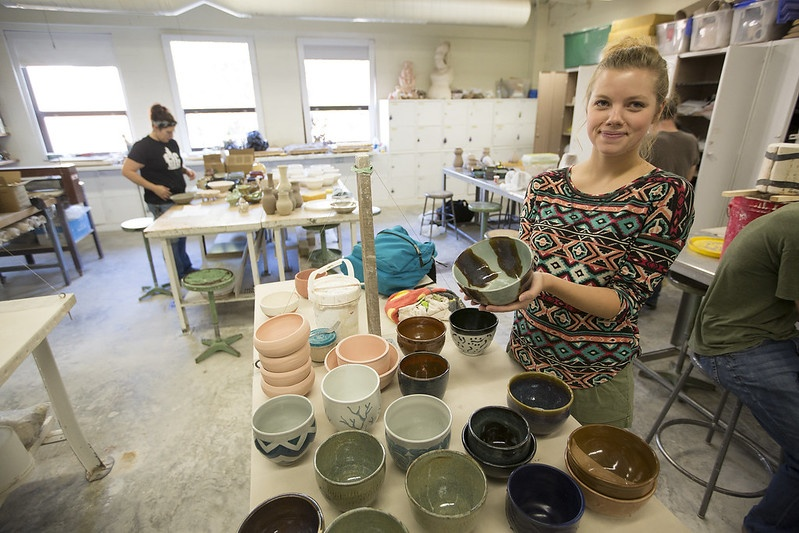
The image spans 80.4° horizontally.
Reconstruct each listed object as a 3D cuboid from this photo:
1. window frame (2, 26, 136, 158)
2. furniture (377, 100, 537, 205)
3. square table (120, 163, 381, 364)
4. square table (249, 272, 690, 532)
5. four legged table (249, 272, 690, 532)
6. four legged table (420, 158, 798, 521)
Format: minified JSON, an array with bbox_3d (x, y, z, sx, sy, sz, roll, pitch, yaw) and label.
[{"bbox_3d":[-4.590,-2.479,6.750,1.317,1.690,0.124,-10,23,-12],"label":"window frame"},{"bbox_3d":[1.252,-1.951,8.328,0.818,1.810,3.024,4,12,-28],"label":"furniture"},{"bbox_3d":[-1.351,-0.055,4.080,1.764,1.575,1.303,-8,22,-16],"label":"square table"},{"bbox_3d":[0.192,0.334,2.126,1.460,0.330,0.889,-1,23,-6],"label":"square table"},{"bbox_3d":[0.211,0.347,2.089,1.460,0.330,0.889,-1,23,-6],"label":"four legged table"},{"bbox_3d":[1.531,0.442,3.177,2.030,1.414,2.034,5,45,2],"label":"four legged table"}]
